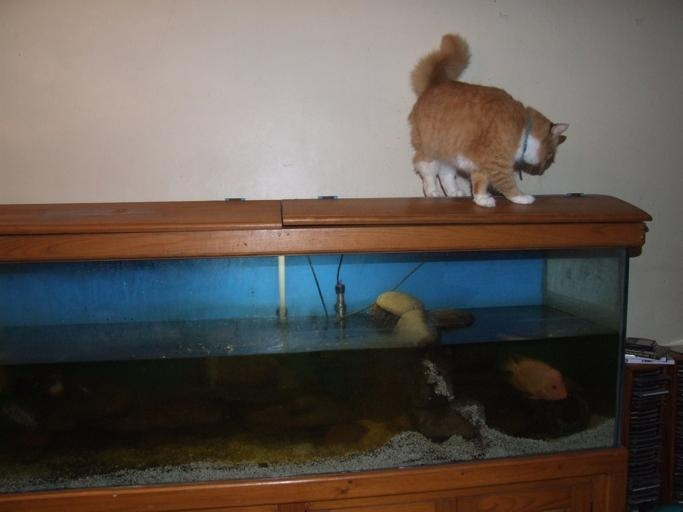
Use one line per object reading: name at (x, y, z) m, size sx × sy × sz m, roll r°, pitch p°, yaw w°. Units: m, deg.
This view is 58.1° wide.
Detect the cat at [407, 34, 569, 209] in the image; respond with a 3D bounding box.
cat at (0.518, -0.471, 2.150) m, size 0.597 × 0.570 × 0.207 m, roll 7°, pitch 8°, yaw -5°

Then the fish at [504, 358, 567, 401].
fish at (0.650, 0.405, 2.087) m, size 0.187 × 0.126 × 0.084 m, roll 22°, pitch 0°, yaw -3°
